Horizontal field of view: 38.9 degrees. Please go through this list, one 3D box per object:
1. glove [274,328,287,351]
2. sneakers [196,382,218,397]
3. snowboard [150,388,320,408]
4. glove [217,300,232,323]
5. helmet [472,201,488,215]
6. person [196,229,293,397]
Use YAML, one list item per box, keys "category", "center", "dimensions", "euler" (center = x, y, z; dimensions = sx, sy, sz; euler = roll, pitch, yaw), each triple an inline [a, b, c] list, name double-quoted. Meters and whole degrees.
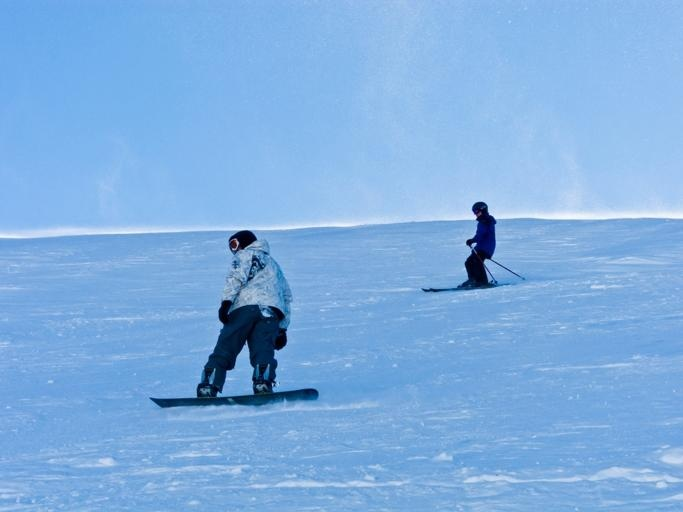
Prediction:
- category: "glove"
  center: [-0.634, 0.877, 10.136]
  dimensions: [0.174, 0.222, 0.074]
  euler: [10, -3, 20]
- category: "sneakers"
  center: [-1.336, 1.323, 9.601]
  dimensions: [0.179, 0.107, 0.126]
  euler: [-1, 4, -7]
- category: "snowboard"
  center: [-1.030, 1.419, 9.648]
  dimensions: [1.674, 0.170, 0.081]
  euler: [-1, -41, -1]
- category: "glove"
  center: [-1.217, 0.550, 9.651]
  dimensions: [0.080, 0.206, 0.159]
  euler: [18, 2, 8]
- category: "helmet"
  center: [2.334, -0.784, 16.339]
  dimensions: [0.209, 0.246, 0.568]
  euler: [-2, 8, 6]
- category: "person"
  center: [-0.976, 0.578, 9.814]
  dimensions: [0.711, 1.612, 1.093]
  euler: [1, 10, 25]
